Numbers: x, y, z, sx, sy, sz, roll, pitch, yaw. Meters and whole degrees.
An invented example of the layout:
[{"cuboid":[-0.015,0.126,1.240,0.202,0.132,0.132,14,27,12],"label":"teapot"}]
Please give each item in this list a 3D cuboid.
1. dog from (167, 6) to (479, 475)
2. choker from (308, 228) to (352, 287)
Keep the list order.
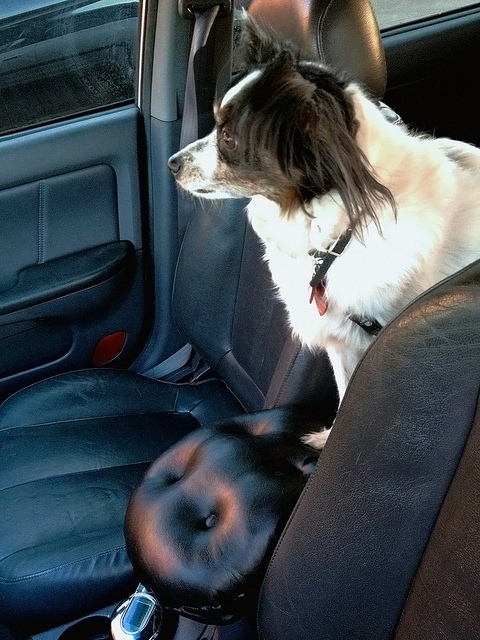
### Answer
[{"cuboid":[0.163,-0.193,1.225,0.648,0.722,0.365,28,36,34],"label":"dog"},{"cuboid":[0.170,-0.116,1.125,0.030,0.088,0.065,42,23,31],"label":"choker"}]
